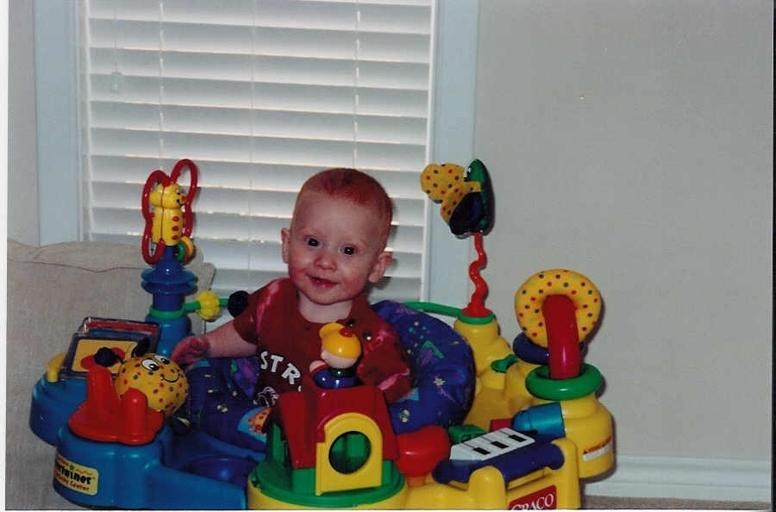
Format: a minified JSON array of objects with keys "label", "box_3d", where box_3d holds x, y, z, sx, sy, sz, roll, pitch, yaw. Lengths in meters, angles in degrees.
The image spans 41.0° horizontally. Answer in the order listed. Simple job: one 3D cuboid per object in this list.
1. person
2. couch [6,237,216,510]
[{"label":"person","box_3d":[-0.333,0.109,3.604,0.603,0.996,0.307,8,-8,10]},{"label":"couch","box_3d":[-0.879,0.390,3.731,0.664,0.983,0.771,1,0,-11]}]
